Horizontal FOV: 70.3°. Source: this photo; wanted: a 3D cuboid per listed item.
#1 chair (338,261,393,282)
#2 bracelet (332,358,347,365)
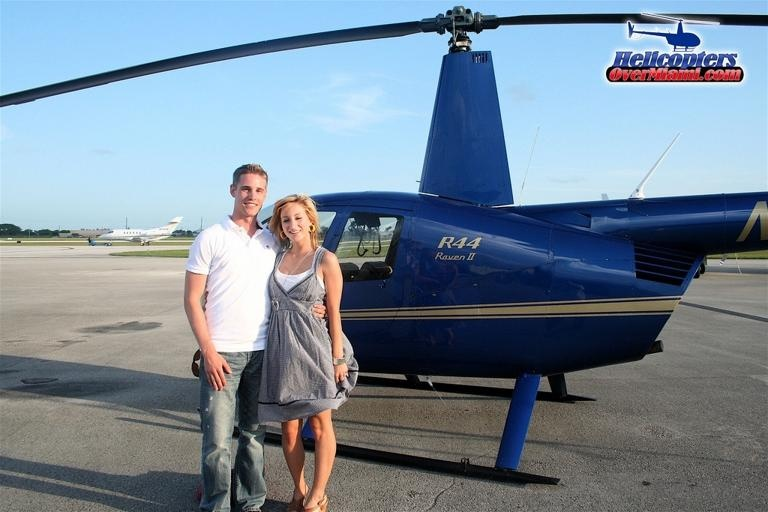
[{"bbox_3d":[-0.194,0.144,5.413,0.403,0.118,0.225,-1,1,7],"label":"chair"},{"bbox_3d":[-0.372,0.846,4.387,0.068,0.030,0.057,4,-5,-37],"label":"bracelet"}]
